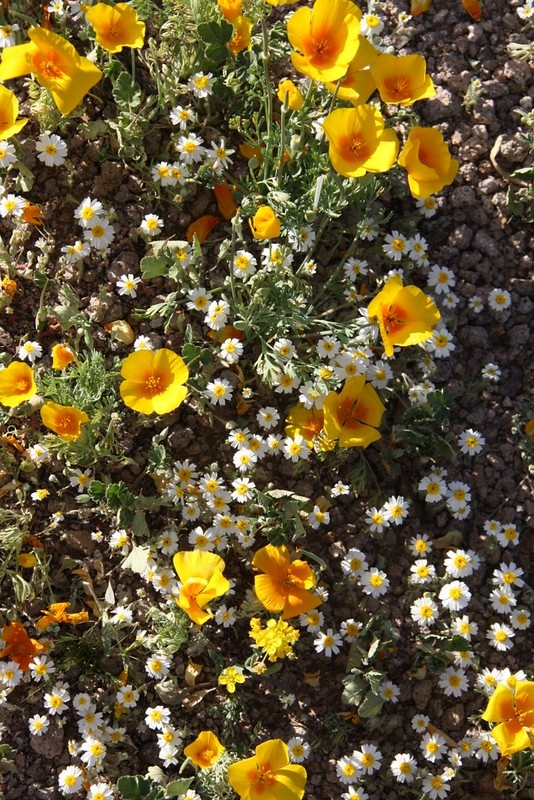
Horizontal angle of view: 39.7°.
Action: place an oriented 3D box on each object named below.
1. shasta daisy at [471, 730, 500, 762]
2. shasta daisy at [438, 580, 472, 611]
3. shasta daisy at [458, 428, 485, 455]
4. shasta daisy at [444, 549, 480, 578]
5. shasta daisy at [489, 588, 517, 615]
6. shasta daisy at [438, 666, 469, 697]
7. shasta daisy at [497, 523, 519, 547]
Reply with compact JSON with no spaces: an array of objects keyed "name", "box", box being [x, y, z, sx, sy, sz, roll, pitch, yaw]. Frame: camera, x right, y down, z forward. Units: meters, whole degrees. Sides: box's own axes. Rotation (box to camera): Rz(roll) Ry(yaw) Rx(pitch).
[{"name":"shasta daisy","box":[0.709,1.140,2.431,0.097,0.035,0.093,23,87,13]},{"name":"shasta daisy","box":[0.610,0.644,2.422,0.094,0.130,0.086,-20,66,-5]},{"name":"shasta daisy","box":[0.710,0.148,2.574,0.097,0.029,0.089,0,81,14]},{"name":"shasta daisy","box":[0.656,0.540,2.480,0.116,0.038,0.111,6,81,14]},{"name":"shasta daisy","box":[0.816,0.693,2.538,0.105,0.111,0.077,9,67,8]},{"name":"shasta daisy","box":[0.620,0.945,2.474,0.092,0.089,0.085,-38,69,-12]},{"name":"shasta daisy","box":[0.847,0.478,2.607,0.084,0.080,0.074,1,66,5]}]
